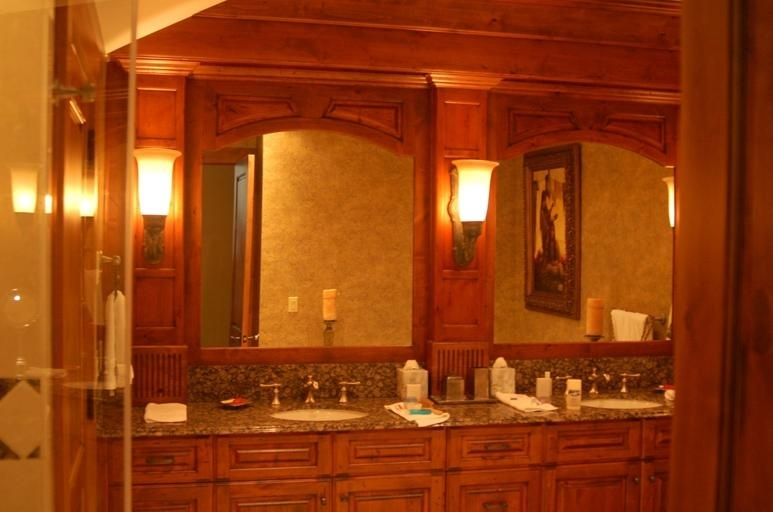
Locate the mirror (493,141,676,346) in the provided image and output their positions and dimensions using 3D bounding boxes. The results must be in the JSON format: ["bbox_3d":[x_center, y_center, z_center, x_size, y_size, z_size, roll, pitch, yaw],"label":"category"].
[{"bbox_3d":[0.997,-0.049,3.946,1.105,1.271,0.052,0,-3,-8],"label":"mirror"}]

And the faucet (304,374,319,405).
[{"bbox_3d":[-0.357,0.641,3.585,0.063,0.141,0.112,2,-9,-6],"label":"faucet"}]

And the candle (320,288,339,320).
[{"bbox_3d":[-0.277,0.240,3.729,0.118,0.132,0.117,-1,2,-13],"label":"candle"}]

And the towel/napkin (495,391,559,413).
[{"bbox_3d":[0.664,0.692,3.536,0.232,0.083,0.270,2,-9,-12],"label":"towel/napkin"}]

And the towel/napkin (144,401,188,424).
[{"bbox_3d":[-0.949,0.679,3.234,0.185,0.077,0.285,3,-10,-17],"label":"towel/napkin"}]

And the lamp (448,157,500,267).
[{"bbox_3d":[0.413,-0.203,3.670,0.223,0.509,0.217,1,-8,-2],"label":"lamp"}]

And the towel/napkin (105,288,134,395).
[{"bbox_3d":[-0.619,0.193,1.721,0.058,0.231,0.091,4,-9,-20],"label":"towel/napkin"}]

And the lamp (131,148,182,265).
[{"bbox_3d":[-1.050,-0.223,3.386,0.185,0.499,0.183,3,-9,-18],"label":"lamp"}]

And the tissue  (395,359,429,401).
[{"bbox_3d":[0.121,0.584,3.587,0.166,0.299,0.175,0,-2,-4],"label":"tissue "}]

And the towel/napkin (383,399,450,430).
[{"bbox_3d":[0.120,0.714,3.373,0.215,0.095,0.356,6,-11,-33],"label":"towel/napkin"}]

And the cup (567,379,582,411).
[{"bbox_3d":[0.882,0.660,3.548,0.070,0.141,0.181,-1,-9,12],"label":"cup"}]

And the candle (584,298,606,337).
[{"bbox_3d":[1.109,0.333,4.002,0.111,0.208,0.028,4,-9,-20],"label":"candle"}]

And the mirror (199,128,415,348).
[{"bbox_3d":[-0.437,-0.074,3.667,1.091,1.131,0.060,1,1,-9],"label":"mirror"}]

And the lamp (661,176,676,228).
[{"bbox_3d":[1.564,-0.293,4.090,0.092,0.320,0.085,4,-30,16],"label":"lamp"}]

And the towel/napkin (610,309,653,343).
[{"bbox_3d":[1.310,0.373,4.047,0.179,0.139,0.082,1,3,-1],"label":"towel/napkin"}]

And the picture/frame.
[{"bbox_3d":[0.871,-0.134,3.953,0.324,0.907,0.175,1,-8,-4],"label":"picture/frame"}]
